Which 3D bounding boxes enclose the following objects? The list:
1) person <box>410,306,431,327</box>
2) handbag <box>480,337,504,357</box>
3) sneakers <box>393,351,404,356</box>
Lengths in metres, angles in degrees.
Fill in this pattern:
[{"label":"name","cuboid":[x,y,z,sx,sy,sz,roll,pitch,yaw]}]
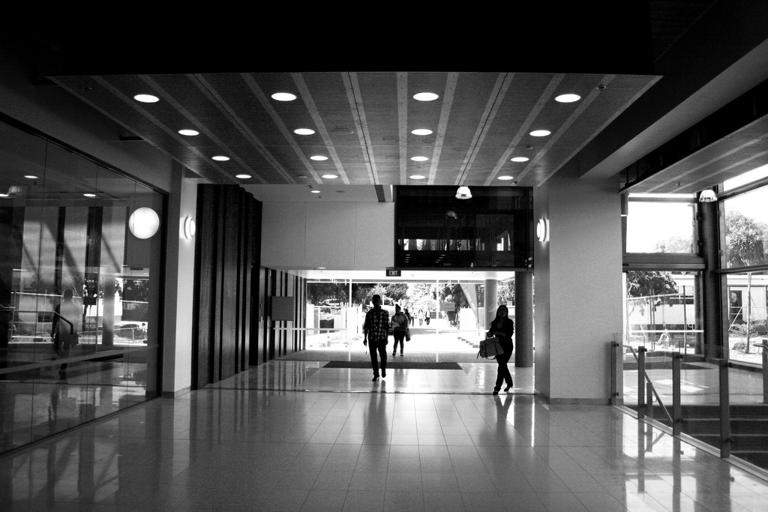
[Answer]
[{"label":"person","cuboid":[1.480,2.497,23.212,0.964,0.825,0.213,-1,-3,35]},{"label":"handbag","cuboid":[2.512,2.101,12.967,0.469,0.423,0.208,-3,-16,13]},{"label":"sneakers","cuboid":[0.545,3.777,21.845,0.305,0.091,0.274,2,-6,-24]}]
